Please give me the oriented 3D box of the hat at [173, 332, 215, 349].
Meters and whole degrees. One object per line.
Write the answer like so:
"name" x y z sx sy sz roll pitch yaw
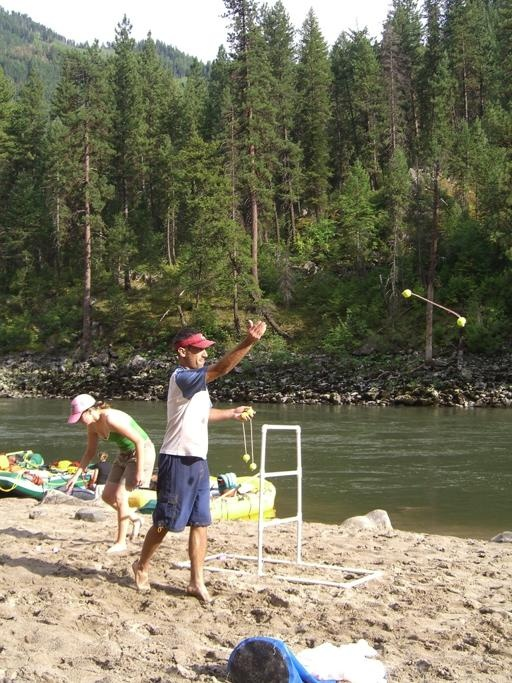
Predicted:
"hat" -0.476 -0.004 5.707 0.229 0.099 0.156 0 1 1

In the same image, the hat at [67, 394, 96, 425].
"hat" -1.651 0.632 7.086 0.141 0.240 0.314 0 -2 17

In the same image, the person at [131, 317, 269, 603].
"person" -0.368 0.907 5.713 1.222 1.932 0.724 -9 -15 32
